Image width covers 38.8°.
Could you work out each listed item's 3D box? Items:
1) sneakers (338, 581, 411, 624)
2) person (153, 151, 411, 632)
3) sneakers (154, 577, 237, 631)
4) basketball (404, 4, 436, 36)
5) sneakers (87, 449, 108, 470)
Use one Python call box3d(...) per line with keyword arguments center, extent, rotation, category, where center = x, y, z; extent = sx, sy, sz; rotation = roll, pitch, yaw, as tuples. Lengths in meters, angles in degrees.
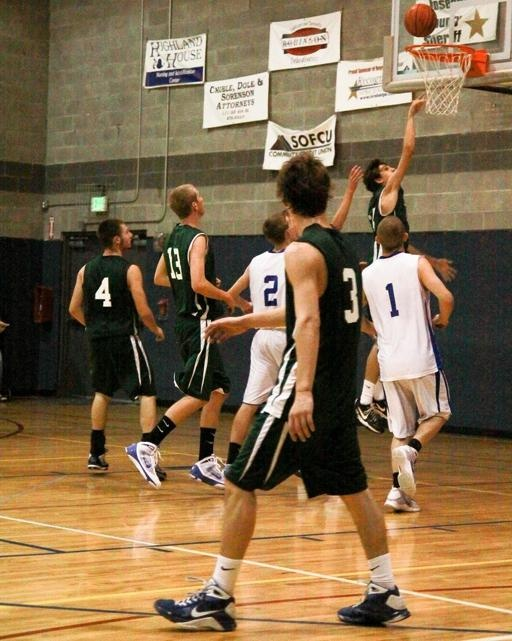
box3d(center=(0.327, 0.796, 2.045), extent=(0.242, 0.125, 0.083), rotation=(-1, -11, 7), category="sneakers")
box3d(center=(0.096, 0.175, 1.991), extent=(0.684, 1.307, 0.338), rotation=(2, 3, -24), category="person")
box3d(center=(-0.125, 0.762, 1.935), extent=(0.259, 0.152, 0.094), rotation=(4, -20, 1), category="sneakers")
box3d(center=(1.623, -2.986, 7.199), extent=(0.284, 0.330, 0.159), rotation=(3, 2, 8), category="basketball")
box3d(center=(-1.178, 1.069, 5.484), extent=(0.086, 0.145, 0.237), rotation=(3, -2, 13), category="sneakers")
